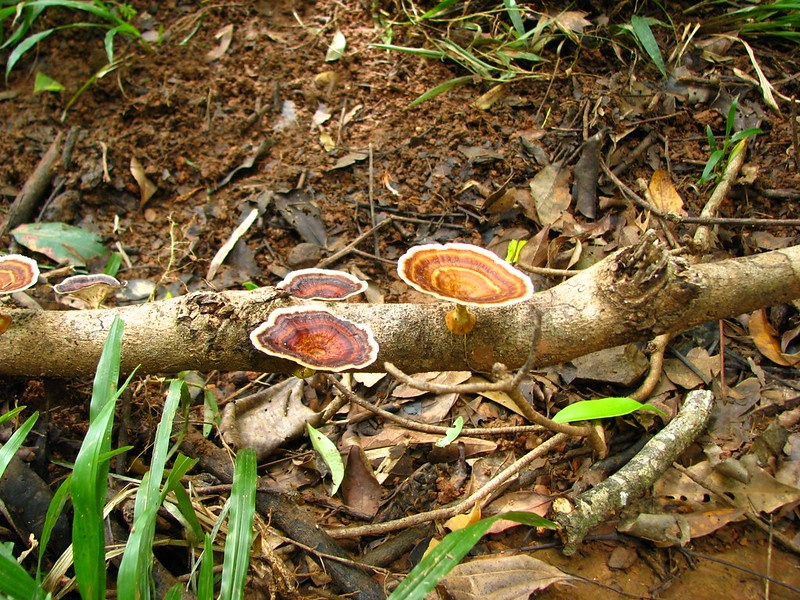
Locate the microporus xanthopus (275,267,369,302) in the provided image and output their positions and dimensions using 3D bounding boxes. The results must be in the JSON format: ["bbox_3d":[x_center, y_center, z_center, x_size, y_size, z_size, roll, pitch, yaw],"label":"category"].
[{"bbox_3d":[-0.460,-0.087,4.081,0.300,0.089,0.282,21,25,40],"label":"microporus xanthopus"}]

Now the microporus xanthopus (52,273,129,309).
[{"bbox_3d":[-2.024,-0.081,4.550,0.369,0.153,0.315,8,20,-6],"label":"microporus xanthopus"}]
